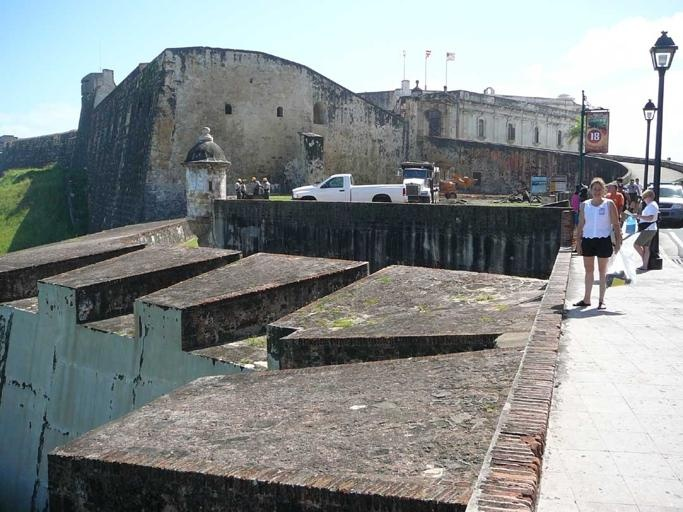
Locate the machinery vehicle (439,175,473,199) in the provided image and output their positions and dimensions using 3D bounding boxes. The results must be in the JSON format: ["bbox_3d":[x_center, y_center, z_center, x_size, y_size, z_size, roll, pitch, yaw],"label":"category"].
[{"bbox_3d":[5.258,-3.278,43.658,1.224,0.473,1.513,-1,15,16],"label":"machinery vehicle"}]

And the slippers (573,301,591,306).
[{"bbox_3d":[4.076,0.783,15.789,0.208,0.099,0.091,2,4,9],"label":"slippers"}]

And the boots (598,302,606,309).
[{"bbox_3d":[4.342,0.828,15.610,0.086,0.096,0.205,-4,-1,17],"label":"boots"}]

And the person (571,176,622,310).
[{"bbox_3d":[4.403,-0.233,16.019,0.723,2.187,1.036,2,4,17],"label":"person"}]

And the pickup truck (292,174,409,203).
[{"bbox_3d":[0.325,-2.039,29.961,3.024,1.307,1.516,3,3,3],"label":"pickup truck"}]
